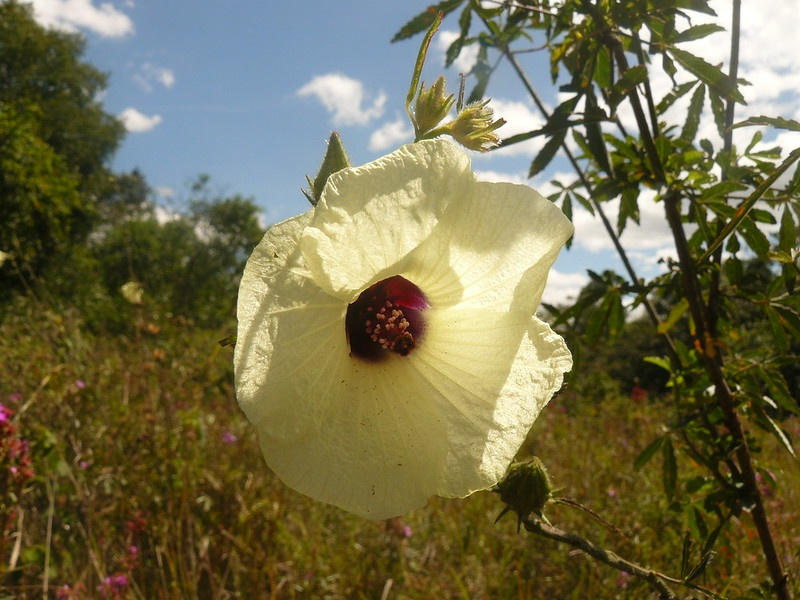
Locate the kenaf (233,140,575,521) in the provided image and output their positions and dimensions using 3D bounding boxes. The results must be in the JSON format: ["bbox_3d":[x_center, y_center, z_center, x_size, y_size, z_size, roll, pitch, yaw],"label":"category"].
[{"bbox_3d":[0.027,0.098,2.760,1.259,1.230,0.774,5,35,-18],"label":"kenaf"}]
